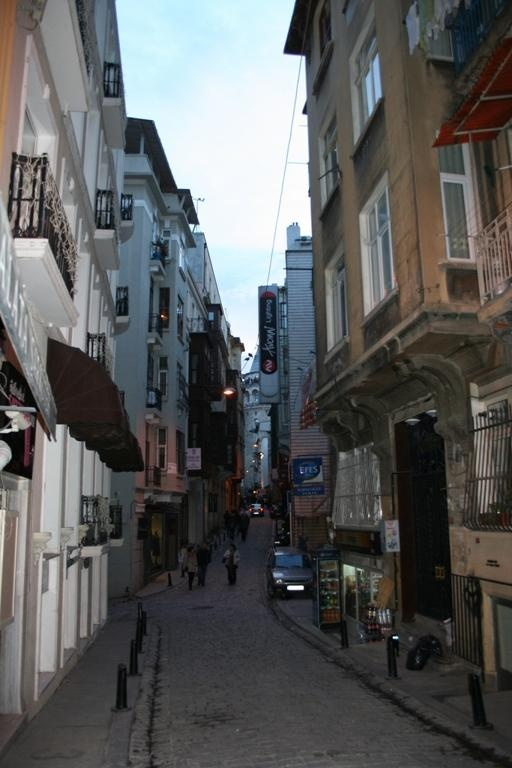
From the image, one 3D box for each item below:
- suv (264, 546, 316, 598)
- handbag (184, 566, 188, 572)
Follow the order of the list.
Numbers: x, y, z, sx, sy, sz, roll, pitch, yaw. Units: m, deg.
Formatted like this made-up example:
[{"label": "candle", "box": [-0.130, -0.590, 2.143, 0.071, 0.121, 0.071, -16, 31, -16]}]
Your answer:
[{"label": "suv", "box": [1.268, 6.944, 21.047, 1.161, 1.509, 3.265, -1, -20, -1]}, {"label": "handbag", "box": [-2.969, 7.817, 24.045, 0.043, 0.196, 0.338, 4, -14, -30]}]
